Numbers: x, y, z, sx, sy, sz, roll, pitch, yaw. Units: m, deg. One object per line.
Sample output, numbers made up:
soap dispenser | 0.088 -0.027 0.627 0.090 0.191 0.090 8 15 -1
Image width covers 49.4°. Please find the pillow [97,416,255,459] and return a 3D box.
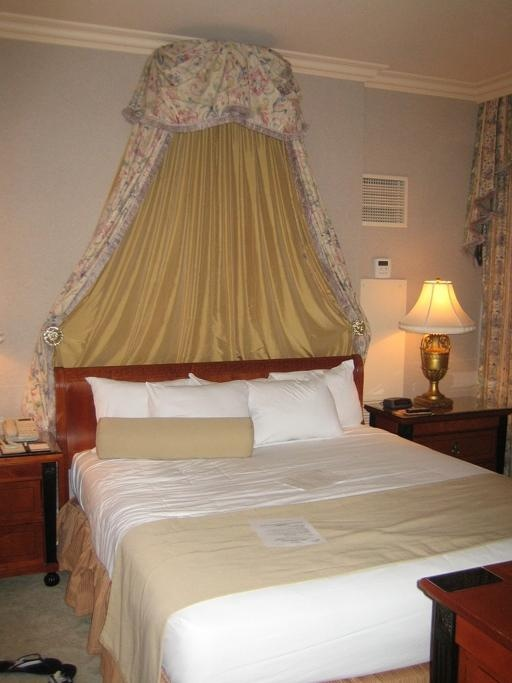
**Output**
pillow | -0.391 0.447 2.844 0.911 0.245 0.267 2 -2 -5

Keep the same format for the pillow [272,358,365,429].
pillow | 0.352 0.312 3.314 0.463 0.308 0.125 -5 -23 -26

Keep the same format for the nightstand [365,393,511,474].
nightstand | 1.213 0.724 3.802 0.844 0.706 0.524 -4 9 -27
